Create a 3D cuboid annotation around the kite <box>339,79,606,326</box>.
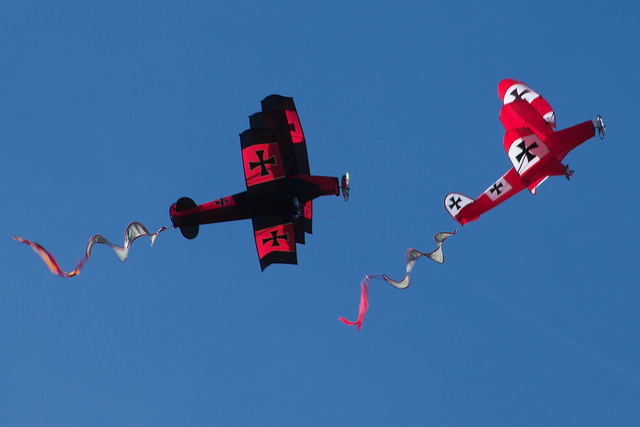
[{"bbox_3d":[3.831,-1.305,25.628,5.178,2.581,2.242,-40,45,-1],"label":"kite"}]
